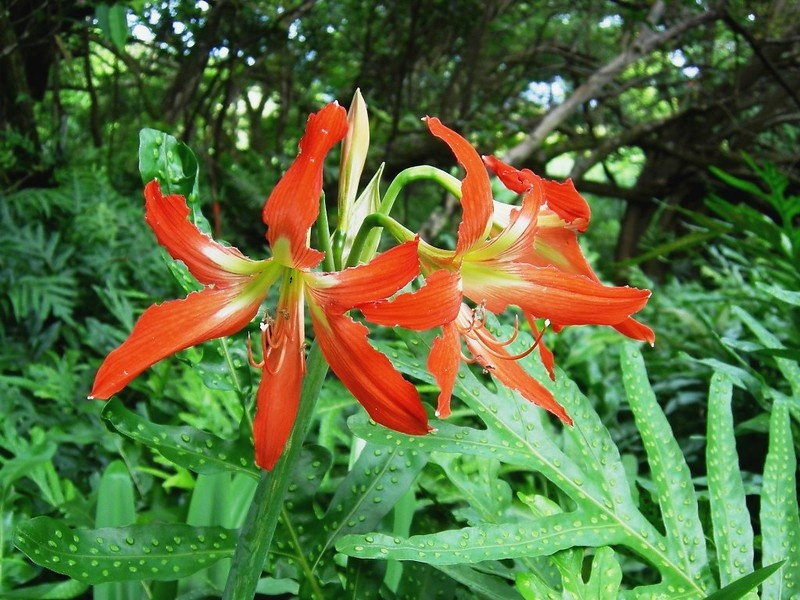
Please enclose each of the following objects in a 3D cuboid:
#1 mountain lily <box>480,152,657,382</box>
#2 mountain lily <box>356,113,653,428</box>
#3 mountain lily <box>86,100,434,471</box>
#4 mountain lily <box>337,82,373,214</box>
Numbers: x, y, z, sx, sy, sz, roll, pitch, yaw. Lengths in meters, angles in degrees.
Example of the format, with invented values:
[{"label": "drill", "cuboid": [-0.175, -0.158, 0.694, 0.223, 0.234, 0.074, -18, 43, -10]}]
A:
[{"label": "mountain lily", "cuboid": [0.329, -0.083, 1.497, 0.477, 0.338, 0.163, 62, -2, -5]}, {"label": "mountain lily", "cuboid": [0.188, -0.011, 1.566, 0.590, 0.572, 0.612, 4, -20, -13]}, {"label": "mountain lily", "cuboid": [-0.189, -0.051, 1.321, 0.698, 0.296, 0.833, 24, 18, -13]}, {"label": "mountain lily", "cuboid": [-0.101, -0.313, 1.467, 0.060, 0.272, 0.045, 4, 7, -2]}]
